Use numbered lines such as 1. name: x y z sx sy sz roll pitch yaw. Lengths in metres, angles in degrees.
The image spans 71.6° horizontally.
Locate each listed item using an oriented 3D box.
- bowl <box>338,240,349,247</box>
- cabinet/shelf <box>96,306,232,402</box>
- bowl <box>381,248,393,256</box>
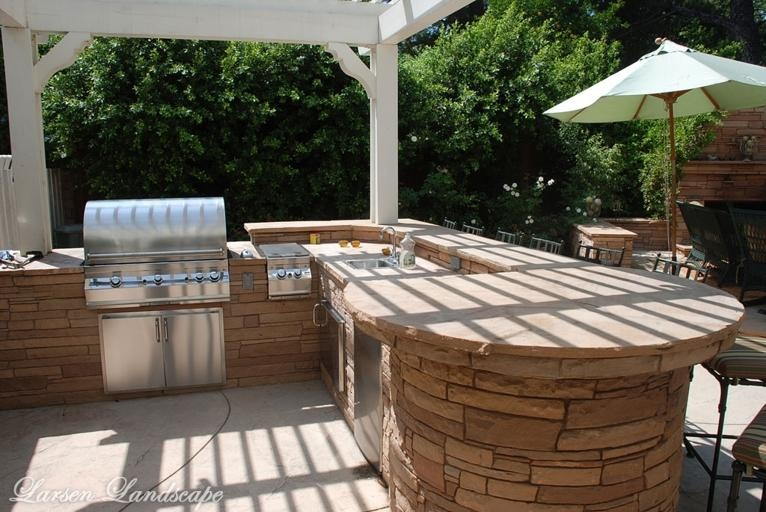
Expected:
1. bowl: -0.463 -0.147 6.311 0.094 0.047 0.094 -3 7 0
2. cabinet/shelf: -2.270 1.017 5.883 1.396 0.890 0.742 -4 -2 1
3. bowl: 0.039 -0.048 5.789 0.116 0.072 0.144 -2 6 -2
